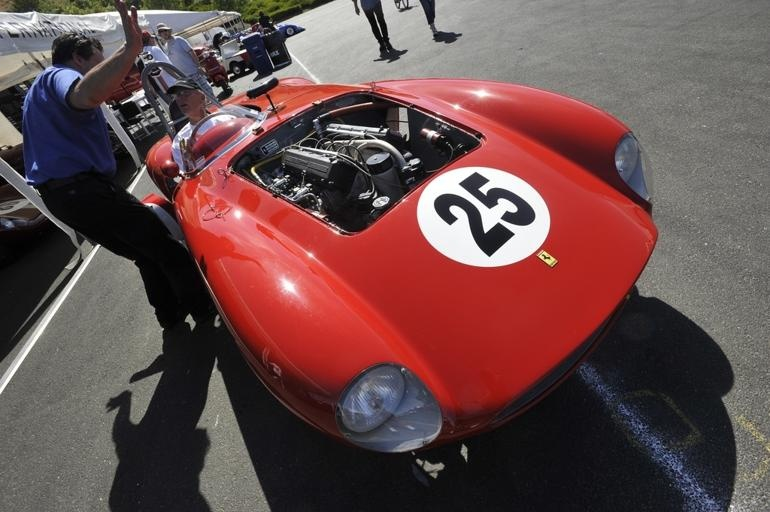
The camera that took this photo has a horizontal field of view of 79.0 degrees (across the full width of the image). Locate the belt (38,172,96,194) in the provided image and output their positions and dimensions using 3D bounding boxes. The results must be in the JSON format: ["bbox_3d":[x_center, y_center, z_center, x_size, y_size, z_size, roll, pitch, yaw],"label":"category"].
[{"bbox_3d":[-2.483,-0.541,3.666,0.295,0.076,0.217,-26,3,18],"label":"belt"}]

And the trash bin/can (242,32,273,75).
[{"bbox_3d":[-2.761,-4.556,10.535,0.459,0.761,0.475,-12,25,16],"label":"trash bin/can"}]
